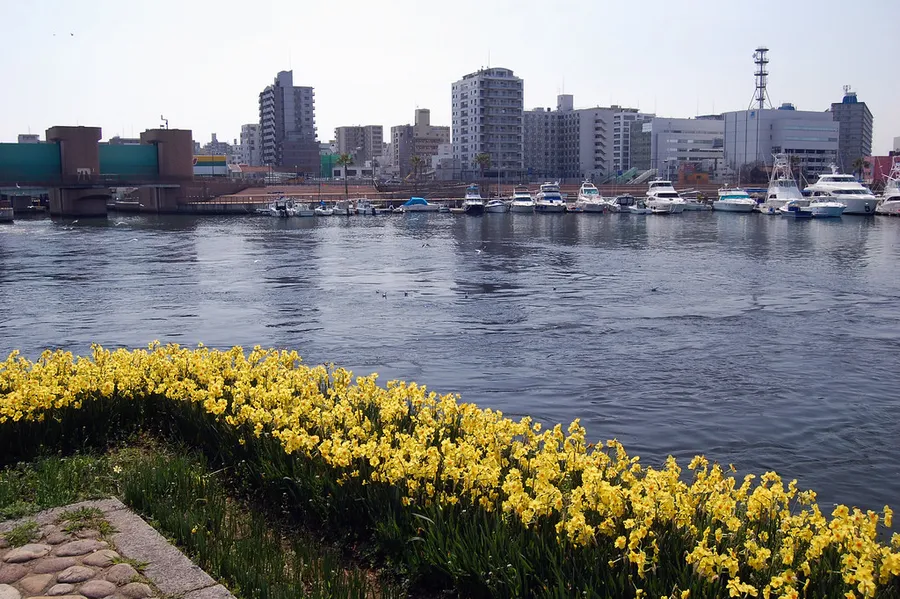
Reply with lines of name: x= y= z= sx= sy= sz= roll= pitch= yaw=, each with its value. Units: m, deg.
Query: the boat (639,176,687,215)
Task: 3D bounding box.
boat: x=28.633 y=-13.310 z=133.146 sx=3.358 sy=3.942 sz=10.564 roll=0 pitch=14 yaw=4

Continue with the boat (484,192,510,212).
boat: x=6.532 y=-13.661 z=142.699 sx=2.242 sy=1.989 sz=6.592 roll=-3 pitch=3 yaw=-7

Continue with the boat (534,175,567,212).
boat: x=14.262 y=-14.271 z=139.913 sx=3.459 sy=4.006 sz=10.050 roll=-1 pitch=7 yaw=-1

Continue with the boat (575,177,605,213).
boat: x=19.496 y=-13.561 z=137.138 sx=2.784 sy=3.292 sz=7.841 roll=0 pitch=16 yaw=3

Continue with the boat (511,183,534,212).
boat: x=10.060 y=-13.559 z=139.581 sx=2.929 sy=4.263 sz=11.305 roll=0 pitch=13 yaw=1
